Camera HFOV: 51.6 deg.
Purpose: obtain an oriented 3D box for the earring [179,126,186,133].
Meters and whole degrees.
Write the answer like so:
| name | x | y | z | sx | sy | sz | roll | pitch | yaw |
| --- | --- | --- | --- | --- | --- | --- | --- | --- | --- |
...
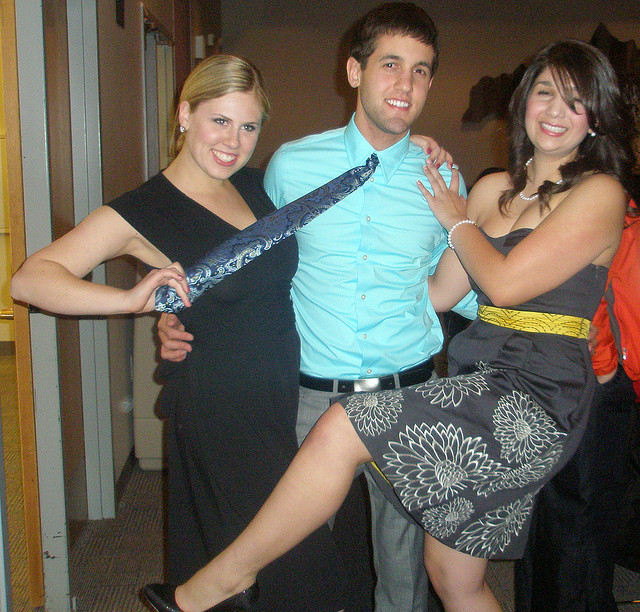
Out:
| name | x | y | z | sx | sy | sz | roll | pitch | yaw |
| --- | --- | --- | --- | --- | --- | --- | --- | --- | --- |
| earring | -0.390 | -0.502 | 1.892 | 0.012 | 0.018 | 0.043 | -5 | 18 | -19 |

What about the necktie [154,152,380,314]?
| name | x | y | z | sx | sy | sz | roll | pitch | yaw |
| --- | --- | --- | --- | --- | --- | --- | --- | --- | --- |
| necktie | -0.147 | -0.160 | 1.768 | 0.749 | 0.091 | 0.111 | -30 | 10 | 23 |

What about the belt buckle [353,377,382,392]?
| name | x | y | z | sx | sy | sz | roll | pitch | yaw |
| --- | --- | --- | --- | --- | --- | --- | --- | --- | --- |
| belt buckle | 0.143 | 0.235 | 1.974 | 0.059 | 0.055 | 0.051 | 0 | -4 | 0 |

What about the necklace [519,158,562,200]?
| name | x | y | z | sx | sy | sz | roll | pitch | yaw |
| --- | --- | --- | --- | --- | --- | --- | --- | --- | --- |
| necklace | 0.675 | -0.358 | 1.968 | 0.129 | 0.095 | 0.005 | -30 | -27 | 30 |

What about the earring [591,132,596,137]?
| name | x | y | z | sx | sy | sz | roll | pitch | yaw |
| --- | --- | --- | --- | --- | --- | --- | --- | --- | --- |
| earring | 0.774 | -0.485 | 1.873 | 0.012 | 0.002 | 0.011 | -1 | -13 | 11 |
